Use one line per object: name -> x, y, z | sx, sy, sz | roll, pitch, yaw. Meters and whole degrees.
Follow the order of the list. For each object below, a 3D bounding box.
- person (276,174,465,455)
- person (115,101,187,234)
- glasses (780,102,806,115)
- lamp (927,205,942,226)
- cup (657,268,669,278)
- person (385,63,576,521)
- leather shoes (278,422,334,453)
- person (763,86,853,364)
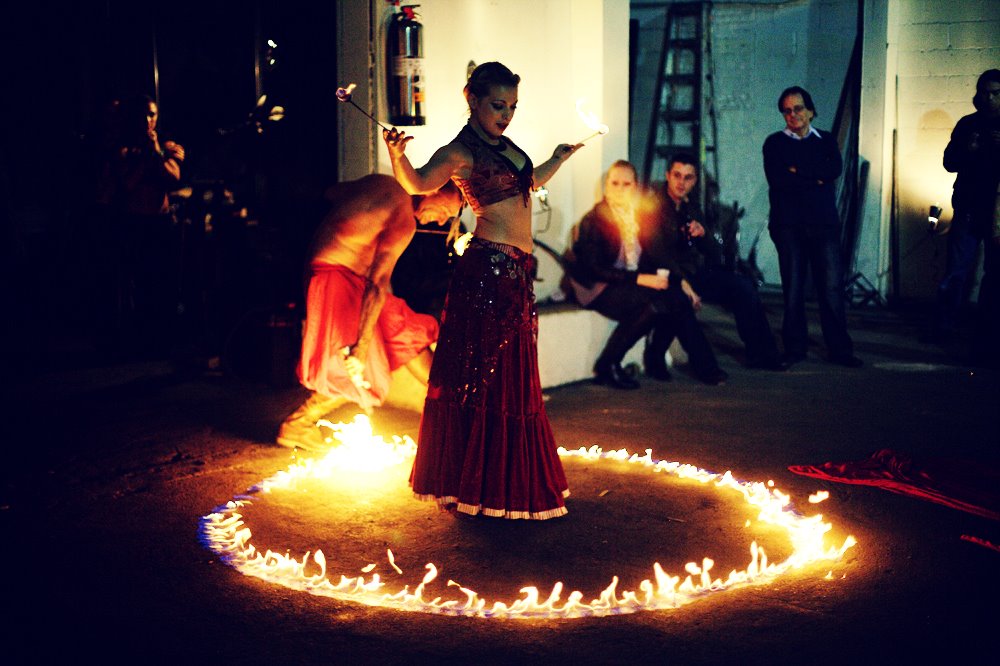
person -> -0.785, -0.299, 6.586 | 1.354, 2.135, 1.071 | -3, 21, -45
person -> -3.412, -1.614, 8.848 | 0.736, 1.200, 0.407 | 6, 16, 21
glasses -> 2.949, -2.252, 9.141 | 0.245, 0.097, 0.146 | 4, 16, 14
lamp -> 5.315, -1.427, 11.151 | 0.160, 0.273, 0.190 | 7, 16, 23
cup -> 1.489, -0.548, 8.303 | 0.083, 0.066, 0.086 | 0, -3, 0
person -> -0.072, -0.248, 5.431 | 0.987, 2.647, 0.773 | 4, 16, 13
leather shoes -> -1.364, 0.736, 6.450 | 0.404, 0.186, 0.183 | 2, 6, -3
person -> 3.121, -1.087, 9.190 | 0.722, 2.691, 1.008 | -1, 15, -5
